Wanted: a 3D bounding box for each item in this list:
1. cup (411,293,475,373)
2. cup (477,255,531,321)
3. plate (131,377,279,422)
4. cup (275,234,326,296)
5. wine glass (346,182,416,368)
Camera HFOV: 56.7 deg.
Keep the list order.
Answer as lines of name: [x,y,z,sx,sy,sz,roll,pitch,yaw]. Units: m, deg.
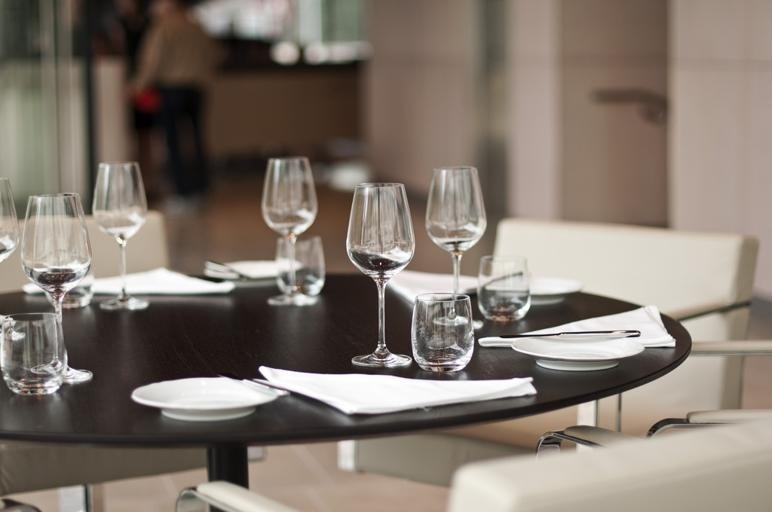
cup: [0.085,0.114,1.068,0.105,0.103,0.101,-3,7,0]
cup: [0.217,0.062,1.333,0.106,0.108,0.106,2,5,0]
plate: [-0.226,0.179,0.918,0.188,0.029,0.105,-1,12,-3]
cup: [-0.168,0.032,1.560,0.122,0.120,0.116,2,-16,1]
wine glass: [-0.009,0.019,1.123,0.099,0.270,0.202,-1,13,-2]
